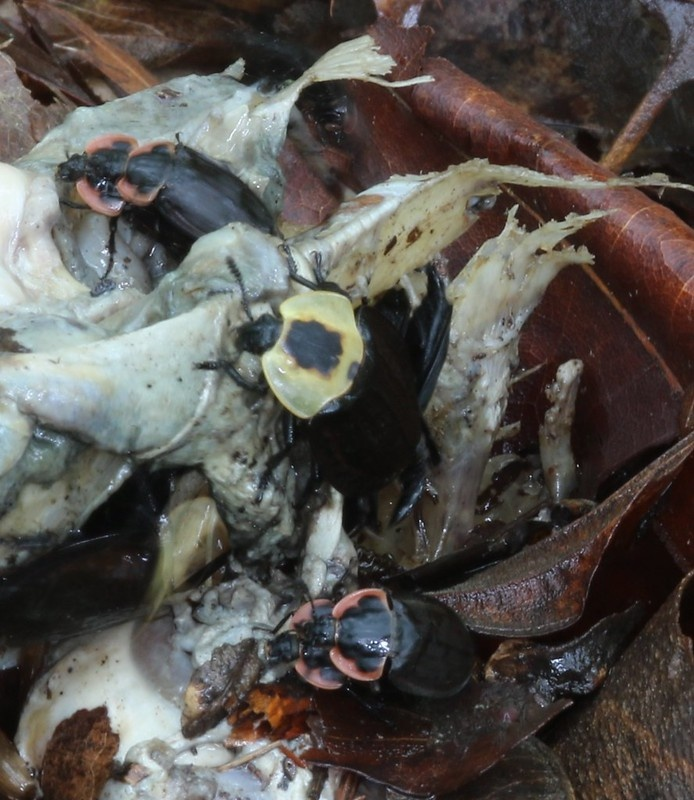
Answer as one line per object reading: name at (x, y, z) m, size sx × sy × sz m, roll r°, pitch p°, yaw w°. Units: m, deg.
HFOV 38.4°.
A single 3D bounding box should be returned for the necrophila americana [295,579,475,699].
necrophila americana at (0.040, 0.256, 1.030) m, size 0.180 × 0.100 × 0.103 m, roll 7°, pitch 44°, yaw -23°
